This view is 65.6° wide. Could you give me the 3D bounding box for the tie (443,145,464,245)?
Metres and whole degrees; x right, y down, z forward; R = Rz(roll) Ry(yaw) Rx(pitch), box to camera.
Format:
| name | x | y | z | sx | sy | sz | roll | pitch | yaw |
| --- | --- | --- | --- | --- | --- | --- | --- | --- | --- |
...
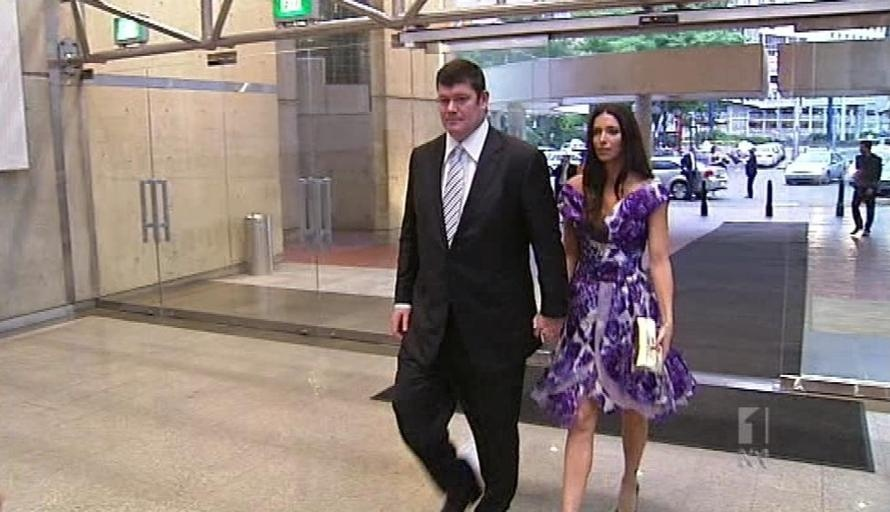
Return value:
| name | x | y | z | sx | sy | sz | roll | pitch | yaw |
| --- | --- | --- | --- | --- | --- | --- | --- | --- | --- |
| tie | 0.066 | -0.407 | 4.541 | 0.130 | 0.662 | 0.079 | 1 | -18 | 11 |
